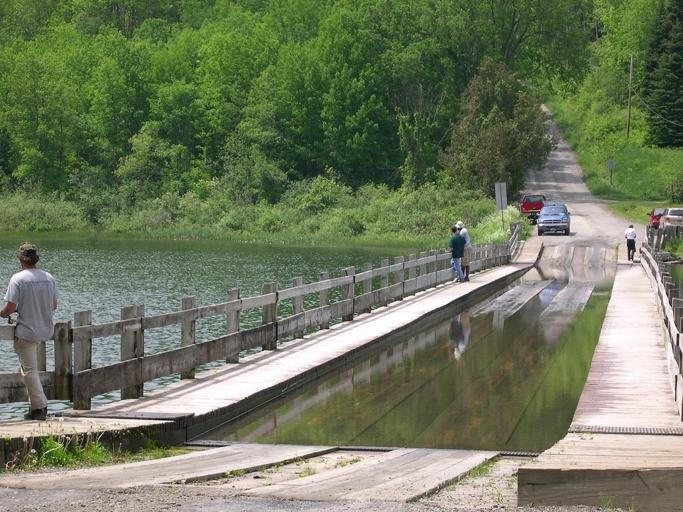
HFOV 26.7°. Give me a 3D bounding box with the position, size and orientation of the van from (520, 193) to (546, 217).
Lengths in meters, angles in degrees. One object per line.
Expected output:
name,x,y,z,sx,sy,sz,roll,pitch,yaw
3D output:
van,15.642,-4.349,118.331,1.318,1.138,2.211,0,15,7

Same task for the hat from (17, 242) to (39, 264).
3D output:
hat,-15.441,-0.202,72.183,0.853,0.644,1.078,-3,23,-28

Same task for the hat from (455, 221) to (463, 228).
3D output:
hat,7.485,-1.984,90.146,0.485,0.199,0.488,9,20,42
